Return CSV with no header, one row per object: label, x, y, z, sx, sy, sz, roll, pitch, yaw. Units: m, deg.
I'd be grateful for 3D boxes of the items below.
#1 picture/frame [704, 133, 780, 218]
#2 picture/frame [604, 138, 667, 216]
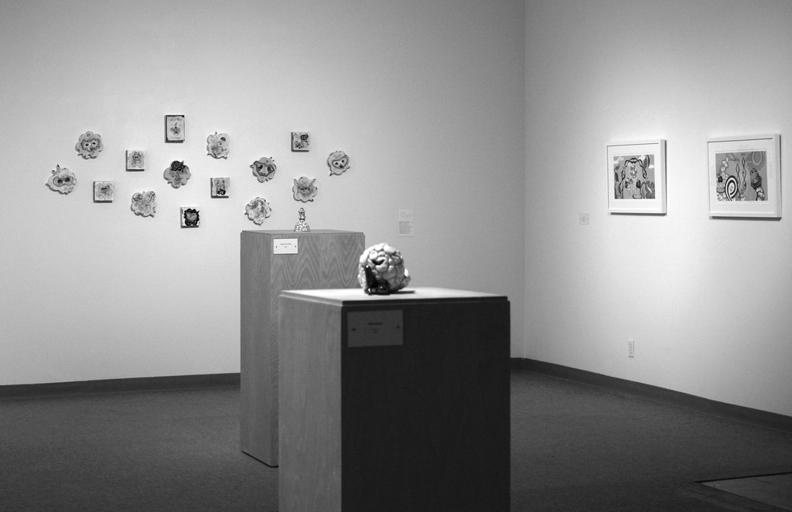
picture/frame,3.286,-0.752,5.647,0.090,0.971,0.778,1,-1,-28
picture/frame,2.667,-0.870,6.604,0.088,0.963,0.834,1,1,-27
